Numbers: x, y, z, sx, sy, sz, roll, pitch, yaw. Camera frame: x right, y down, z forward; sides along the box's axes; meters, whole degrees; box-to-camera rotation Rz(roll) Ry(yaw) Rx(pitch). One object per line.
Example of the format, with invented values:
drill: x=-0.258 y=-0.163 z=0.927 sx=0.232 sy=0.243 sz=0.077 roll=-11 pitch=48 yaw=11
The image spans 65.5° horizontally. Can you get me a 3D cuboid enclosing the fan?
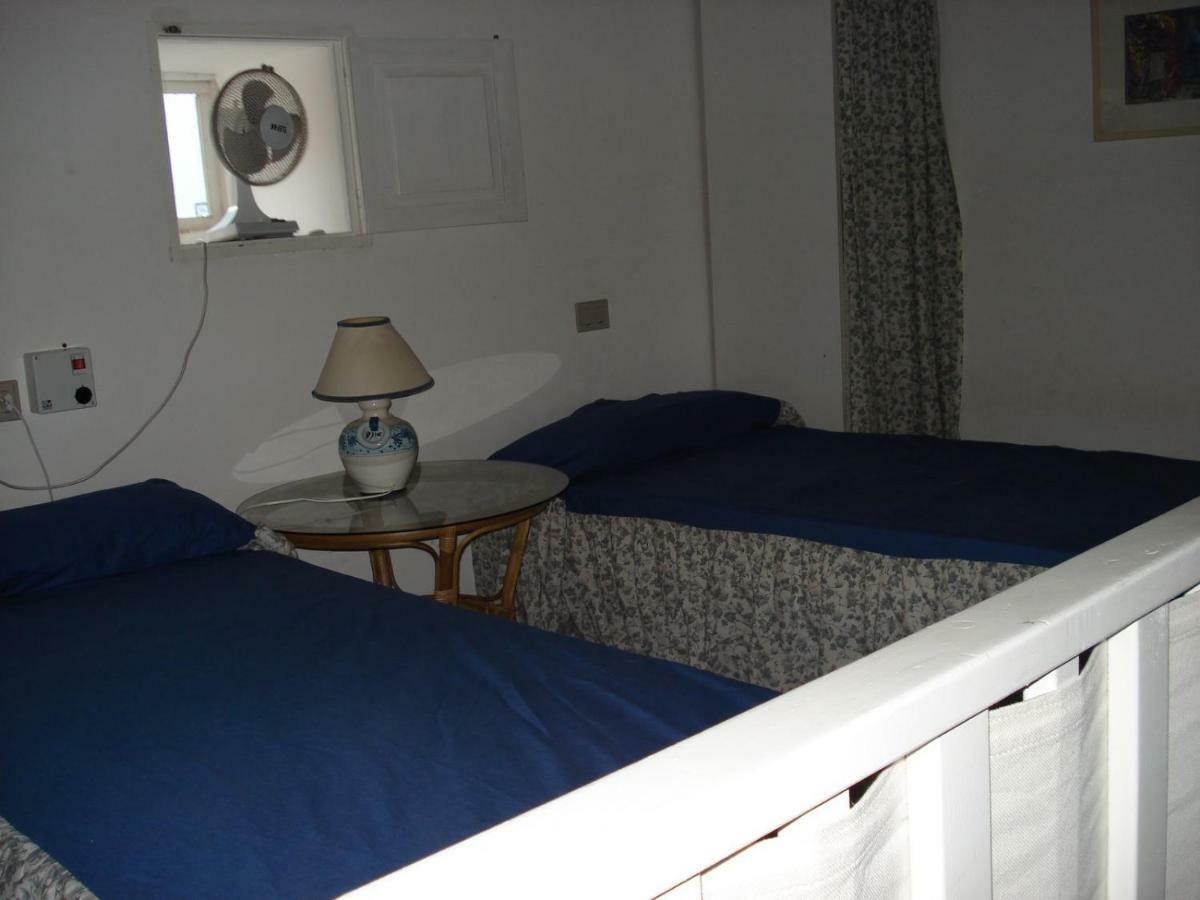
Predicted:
fan: x=-1.069 y=-0.921 z=2.927 sx=0.319 sy=0.504 sz=0.163 roll=-8 pitch=7 yaw=-23

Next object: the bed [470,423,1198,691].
bed: x=0.547 y=0.270 z=2.864 sx=1.501 sy=0.381 sz=0.899 roll=4 pitch=15 yaw=44
